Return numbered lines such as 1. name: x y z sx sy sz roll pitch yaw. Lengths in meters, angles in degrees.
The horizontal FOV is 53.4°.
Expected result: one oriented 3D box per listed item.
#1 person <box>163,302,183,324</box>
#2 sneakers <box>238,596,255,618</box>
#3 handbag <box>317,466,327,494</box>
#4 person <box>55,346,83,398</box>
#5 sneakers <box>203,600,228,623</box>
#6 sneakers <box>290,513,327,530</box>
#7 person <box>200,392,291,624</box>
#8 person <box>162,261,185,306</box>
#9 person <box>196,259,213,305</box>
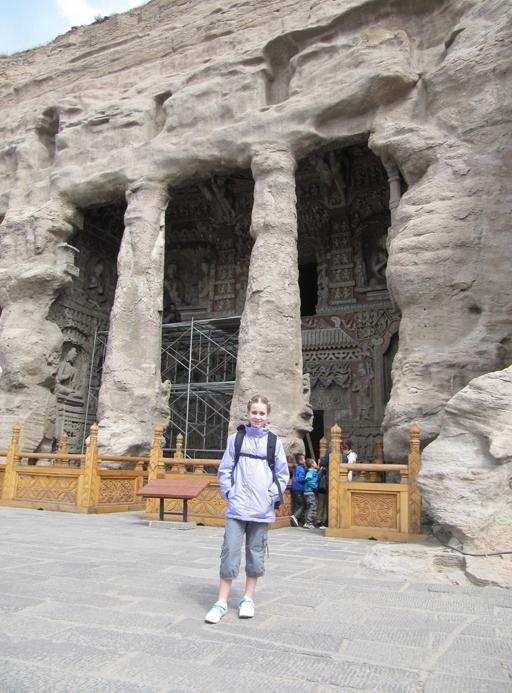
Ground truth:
1. person: -2.659 -1.027 15.930 0.572 0.828 1.050 6 -13 -10
2. sneakers: -0.047 1.265 2.486 0.081 0.099 0.130 3 -13 0
3. handbag: 0.964 1.918 7.407 0.128 0.390 0.183 2 -14 5
4. person: -5.131 0.632 13.802 0.321 1.466 1.013 2 -13 5
5. sneakers: -0.195 1.234 2.368 0.061 0.075 0.114 -2 -14 23
6. sneakers: 0.751 2.600 7.545 0.699 0.247 0.223 -3 -9 4
7. person: -0.029 0.779 2.551 0.360 1.065 0.251 3 -14 1
8. person: -2.698 -2.134 16.789 0.799 1.508 0.366 3 -14 2
9. person: -1.685 -2.078 16.442 0.364 1.430 0.557 8 -14 -18
